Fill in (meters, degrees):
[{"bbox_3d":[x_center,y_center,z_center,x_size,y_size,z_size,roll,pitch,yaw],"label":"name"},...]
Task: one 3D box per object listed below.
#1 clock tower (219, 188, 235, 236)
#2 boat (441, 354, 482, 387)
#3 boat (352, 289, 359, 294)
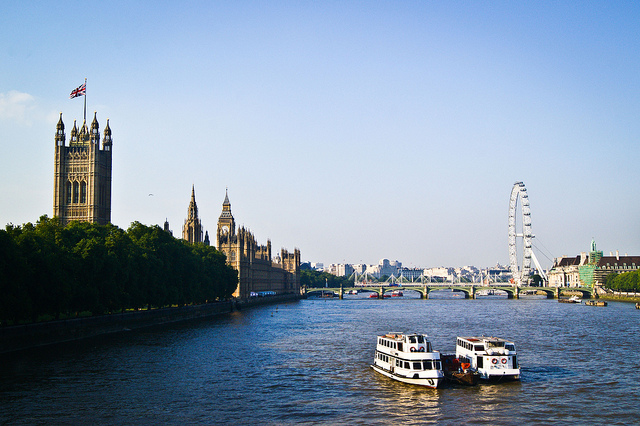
[{"bbox_3d":[-27.179,0.929,253.546,4.028,11.862,9.530,1,-7,-7],"label":"clock tower"},{"bbox_3d":[16.598,18.499,100.190,3.006,2.319,9.000,1,3,-3],"label":"boat"},{"bbox_3d":[17.603,39.938,425.869,2.785,3.282,9.388,-1,-11,-1],"label":"boat"}]
